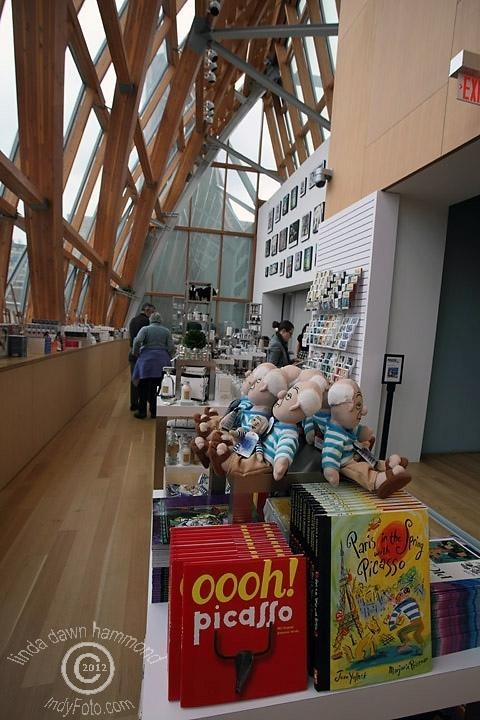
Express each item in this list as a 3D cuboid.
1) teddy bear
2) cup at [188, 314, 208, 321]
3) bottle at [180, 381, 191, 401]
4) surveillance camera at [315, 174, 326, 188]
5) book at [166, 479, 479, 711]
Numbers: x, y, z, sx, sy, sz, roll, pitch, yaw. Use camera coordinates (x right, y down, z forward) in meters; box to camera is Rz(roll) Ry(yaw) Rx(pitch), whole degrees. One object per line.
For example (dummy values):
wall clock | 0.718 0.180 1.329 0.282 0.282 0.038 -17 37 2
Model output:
teddy bear | 0.131 0.194 1.145 0.367 0.192 0.436 1 5 -14
cup | -0.708 -0.750 7.297 0.260 0.140 0.157 2 1 -1
bottle | -0.355 0.213 2.798 0.078 0.102 0.083 0 2 0
surveillance camera | 0.990 -2.169 5.075 0.118 0.111 0.271 4 4 14
book | 0.129 0.358 0.789 0.461 0.175 0.358 -1 4 -15
